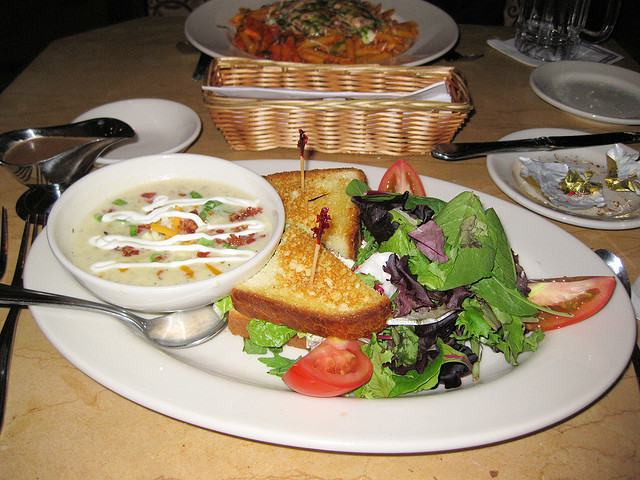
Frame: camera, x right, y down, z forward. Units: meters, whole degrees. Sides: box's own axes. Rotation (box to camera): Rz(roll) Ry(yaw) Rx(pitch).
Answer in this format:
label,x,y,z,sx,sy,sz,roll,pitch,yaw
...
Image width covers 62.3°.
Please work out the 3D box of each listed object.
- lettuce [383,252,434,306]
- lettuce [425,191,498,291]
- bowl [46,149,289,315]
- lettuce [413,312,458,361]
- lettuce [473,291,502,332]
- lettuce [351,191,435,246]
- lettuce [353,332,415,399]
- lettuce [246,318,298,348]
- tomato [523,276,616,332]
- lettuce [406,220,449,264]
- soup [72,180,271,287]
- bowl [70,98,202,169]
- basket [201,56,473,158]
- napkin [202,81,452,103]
label,x,y,z,sx,sy,sz,roll,pitch,yaw
lettuce,0.320,0.145,1.942,0.194,0.081,0.173,12,81,16
lettuce,0.534,0.013,1.916,0.289,0.081,0.326,7,90,22
bowl,-0.581,-0.027,2.162,0.825,0.278,0.766,5,43,-5
lettuce,0.413,0.329,1.986,0.201,0.149,0.134,-13,24,-38
lettuce,0.624,0.267,1.989,0.062,0.018,0.169,-35,79,13
lettuce,0.352,-0.128,2.160,0.234,0.183,0.374,-15,25,-37
lettuce,0.229,0.460,1.884,0.194,0.054,0.190,6,69,-5
lettuce,-0.192,0.369,2.072,0.137,0.031,0.136,22,39,23
tomato,0.978,0.220,2.065,0.360,0.082,0.197,-12,70,10
lettuce,0.408,0.006,1.960,0.114,0.042,0.158,-37,64,7
soup,-0.586,-0.045,2.172,0.516,0.132,0.497,0,32,-2
bowl,-0.978,-0.560,2.828,0.574,0.300,0.494,18,28,32
basket,0.082,-0.750,2.895,1.831,0.533,0.760,-3,25,-6
napkin,0.045,-0.771,2.782,1.301,0.136,0.208,1,48,2
